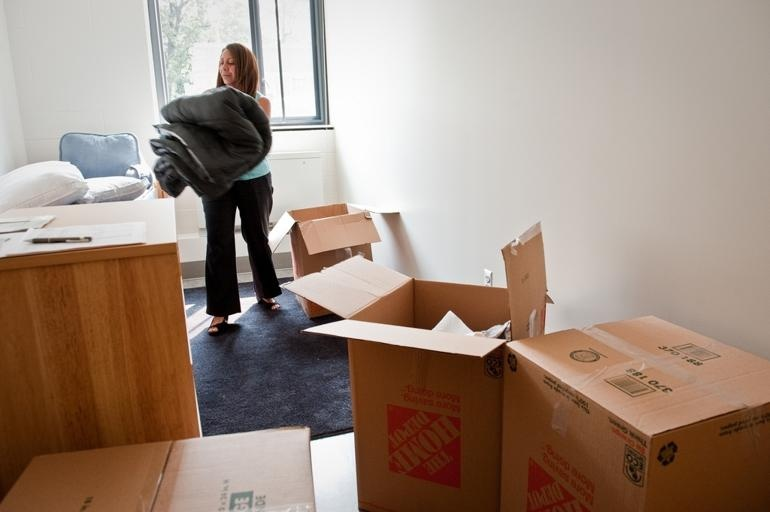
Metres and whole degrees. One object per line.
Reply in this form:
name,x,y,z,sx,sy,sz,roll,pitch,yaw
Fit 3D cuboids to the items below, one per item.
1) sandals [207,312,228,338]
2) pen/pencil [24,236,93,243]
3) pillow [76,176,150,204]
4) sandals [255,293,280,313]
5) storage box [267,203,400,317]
sandals,-0.984,0.406,2.984,0.058,0.069,0.176,0,1,-4
pen/pencil,-0.938,-0.049,1.463,0.180,0.020,0.019,-1,-3,-9
pillow,-1.648,-0.407,3.092,0.339,0.106,0.363,-1,12,-3
sandals,-0.776,0.300,3.368,0.072,0.094,0.231,-7,13,-34
storage box,-0.363,-0.023,3.317,0.840,0.569,0.887,2,14,26
